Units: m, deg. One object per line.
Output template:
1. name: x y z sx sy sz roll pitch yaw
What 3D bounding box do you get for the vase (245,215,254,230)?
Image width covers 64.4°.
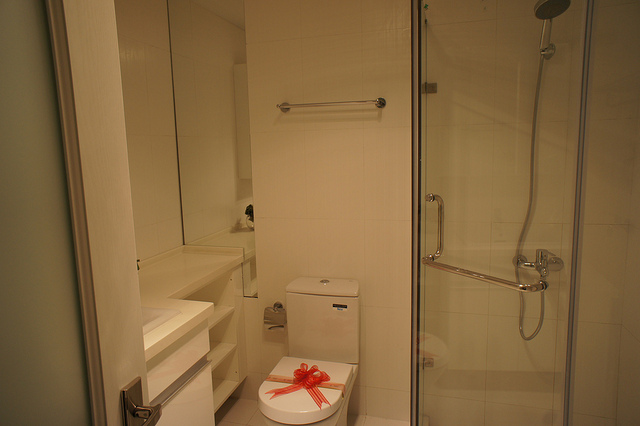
1. vase: -0.433 0.054 3.103 0.037 0.040 0.096 1 -23 -3

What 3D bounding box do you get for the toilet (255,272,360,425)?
1. toilet: -0.022 0.680 2.788 0.496 0.919 0.849 2 7 14
